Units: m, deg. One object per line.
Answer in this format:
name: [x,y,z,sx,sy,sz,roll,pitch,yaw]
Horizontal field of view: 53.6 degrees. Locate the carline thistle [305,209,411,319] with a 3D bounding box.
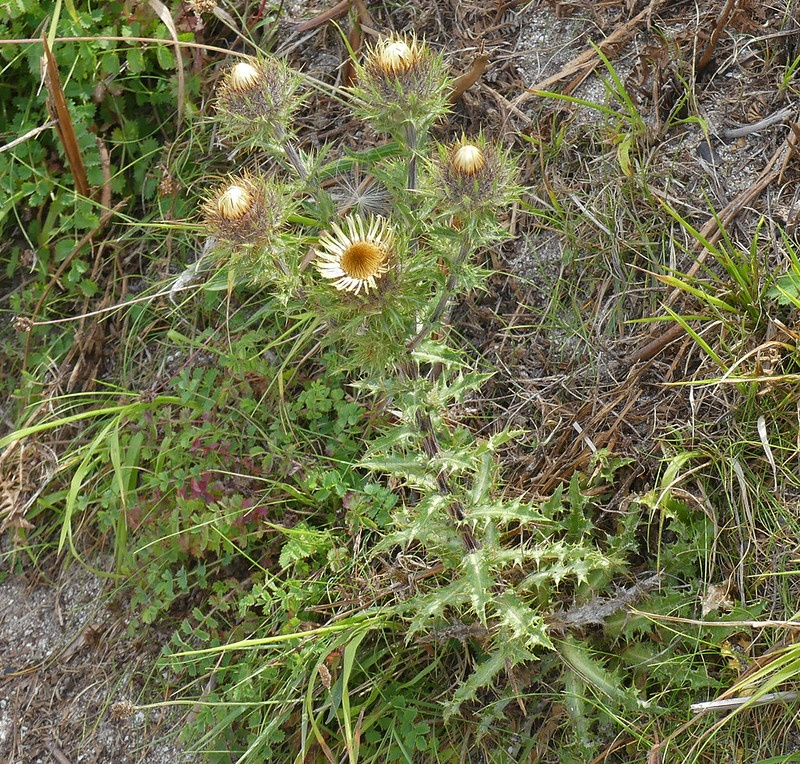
carline thistle: [-0.110,-0.321,2.216,0.248,0.182,0.263,-7,73,0]

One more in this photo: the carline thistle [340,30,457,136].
carline thistle: [-0.004,-0.935,2.423,0.256,0.311,0.334,-4,73,9]

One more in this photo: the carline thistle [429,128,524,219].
carline thistle: [0.217,-0.601,2.302,0.262,0.237,0.252,-15,72,-2]

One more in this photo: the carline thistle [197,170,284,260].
carline thistle: [-0.469,-0.521,2.392,0.246,0.192,0.301,-4,73,1]
